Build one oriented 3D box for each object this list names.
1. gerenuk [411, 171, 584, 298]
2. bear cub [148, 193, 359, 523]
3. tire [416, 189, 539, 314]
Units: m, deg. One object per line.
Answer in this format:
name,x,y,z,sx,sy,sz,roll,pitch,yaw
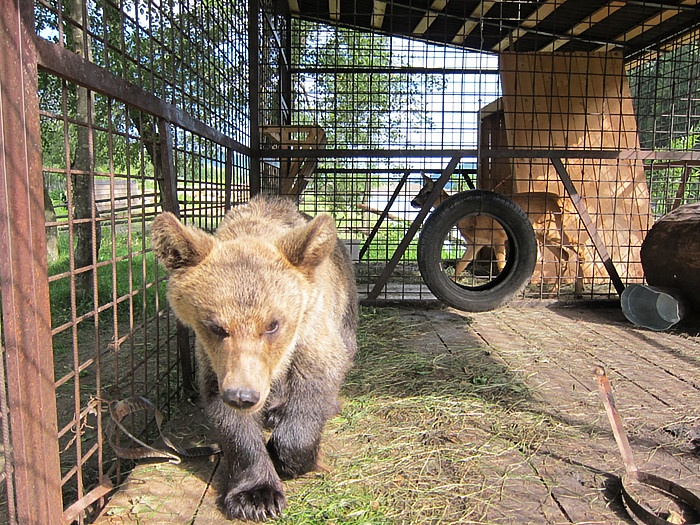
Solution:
gerenuk,3.097,-0.637,8.861,3.175,2.040,1.825,2,10,0
bear cub,-0.526,0.601,2.971,1.030,1.939,1.171,5,6,-1
tire,1.682,-0.140,6.306,1.559,1.659,0.414,-1,10,-8
